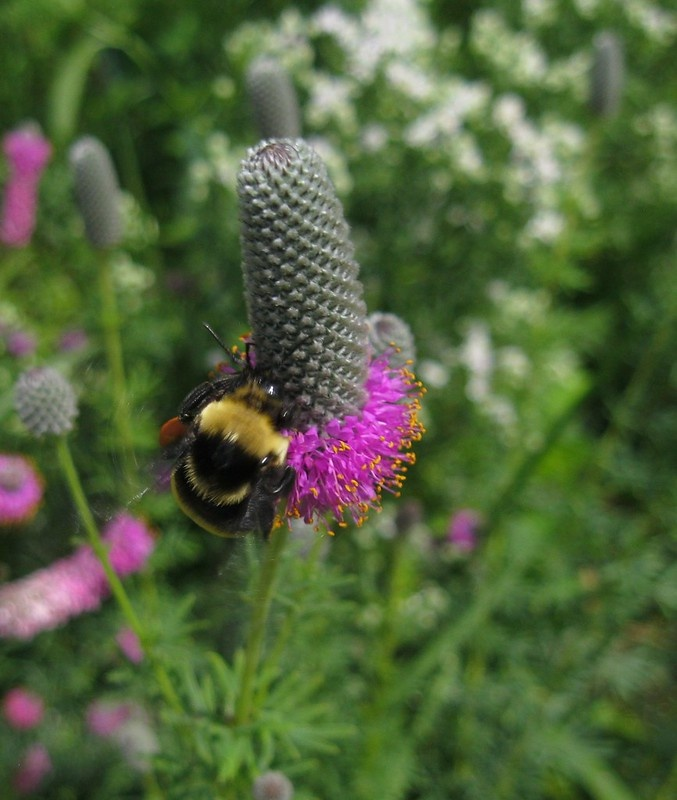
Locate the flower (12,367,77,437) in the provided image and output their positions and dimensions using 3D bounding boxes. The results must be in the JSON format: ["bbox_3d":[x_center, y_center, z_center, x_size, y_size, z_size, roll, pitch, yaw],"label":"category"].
[{"bbox_3d":[-0.396,0.013,1.245,0.090,0.098,0.084,3,86,-46],"label":"flower"}]

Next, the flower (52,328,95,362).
[{"bbox_3d":[-0.448,-0.091,1.588,0.055,0.032,0.068,-6,70,-10],"label":"flower"}]
